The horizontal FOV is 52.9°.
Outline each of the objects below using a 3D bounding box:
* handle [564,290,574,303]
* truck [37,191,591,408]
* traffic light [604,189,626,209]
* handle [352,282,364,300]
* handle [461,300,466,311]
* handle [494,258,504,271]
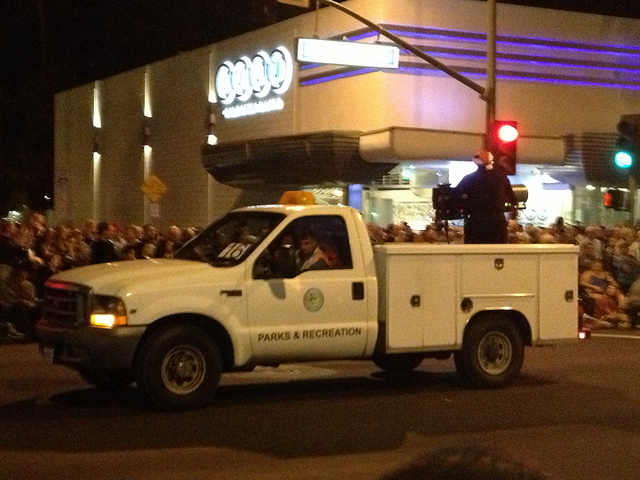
[{"bbox_3d":[3.590,0.825,9.283,0.116,0.182,0.064,0,-1,-9],"label":"handle"},{"bbox_3d":[-0.027,0.771,8.354,6.692,2.387,1.245,1,1,-23],"label":"truck"},{"bbox_3d":[7.797,-1.059,17.039,0.357,0.548,0.532,1,1,21],"label":"traffic light"},{"bbox_3d":[0.459,0.647,8.054,0.191,0.295,0.028,1,-4,-17],"label":"handle"},{"bbox_3d":[1.934,0.885,8.663,0.029,0.100,0.090,1,25,7],"label":"handle"},{"bbox_3d":[2.450,0.352,8.825,0.103,0.157,0.056,-3,2,-10],"label":"handle"}]
